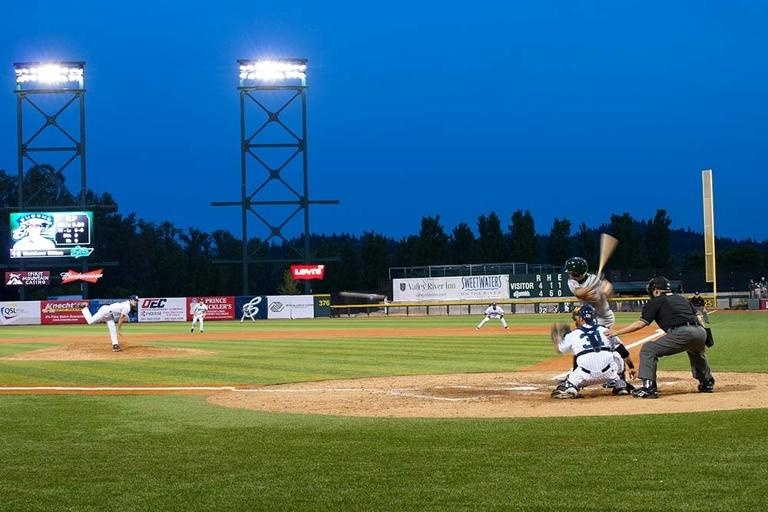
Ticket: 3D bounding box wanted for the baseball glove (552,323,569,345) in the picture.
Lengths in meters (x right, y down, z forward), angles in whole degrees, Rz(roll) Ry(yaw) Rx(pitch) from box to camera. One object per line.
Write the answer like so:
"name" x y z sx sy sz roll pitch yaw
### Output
"baseball glove" 5.092 2.313 36.874 0.486 0.561 0.624 0 -13 -5
